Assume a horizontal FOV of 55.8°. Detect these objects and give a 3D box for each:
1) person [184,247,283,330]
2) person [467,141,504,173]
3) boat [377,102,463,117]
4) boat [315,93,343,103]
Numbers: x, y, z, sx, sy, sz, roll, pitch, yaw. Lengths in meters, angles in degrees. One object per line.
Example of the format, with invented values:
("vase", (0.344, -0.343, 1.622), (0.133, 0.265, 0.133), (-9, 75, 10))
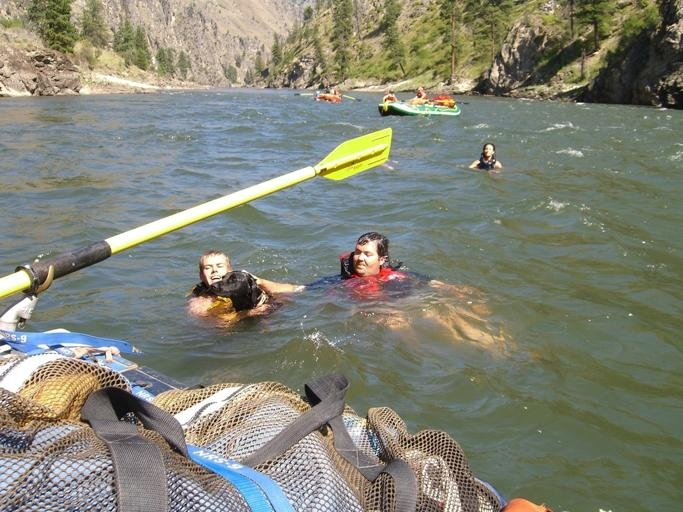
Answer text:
("person", (-1.198, 0.387, 7.575), (0.881, 0.422, 1.151), (-28, 11, -14))
("person", (3.381, -2.291, 14.964), (0.771, 0.606, 0.926), (5, 23, 9))
("boat", (3.453, -6.732, 29.718), (2.947, 0.403, 1.304), (-1, 11, -17))
("boat", (-0.860, -9.940, 40.864), (1.089, 0.328, 1.604), (-8, 17, -28))
